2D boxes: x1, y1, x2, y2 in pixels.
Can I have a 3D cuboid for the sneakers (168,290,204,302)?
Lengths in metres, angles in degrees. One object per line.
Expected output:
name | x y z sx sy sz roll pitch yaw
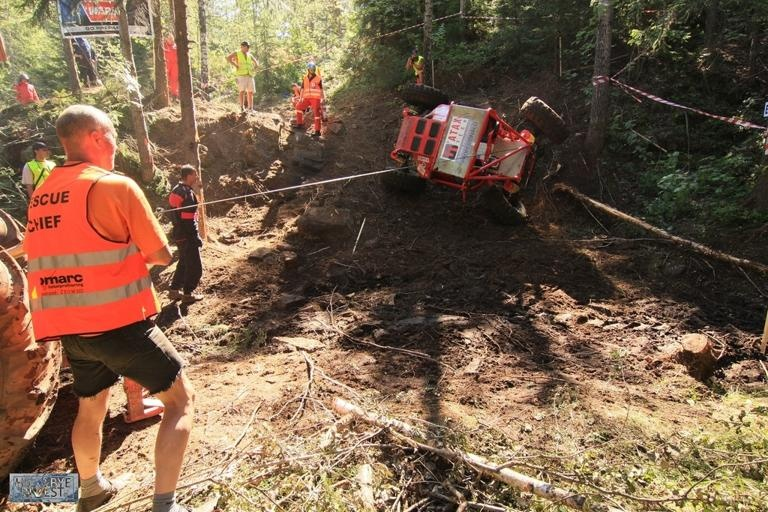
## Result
sneakers | -3.626 0.735 11.412 0.608 0.211 0.220 -5 20 -20

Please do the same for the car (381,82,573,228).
car | 1.780 -2.365 13.859 4.074 2.523 1.711 15 12 16

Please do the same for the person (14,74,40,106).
person | -9.742 -4.466 16.927 0.426 0.796 1.524 -14 30 -28
